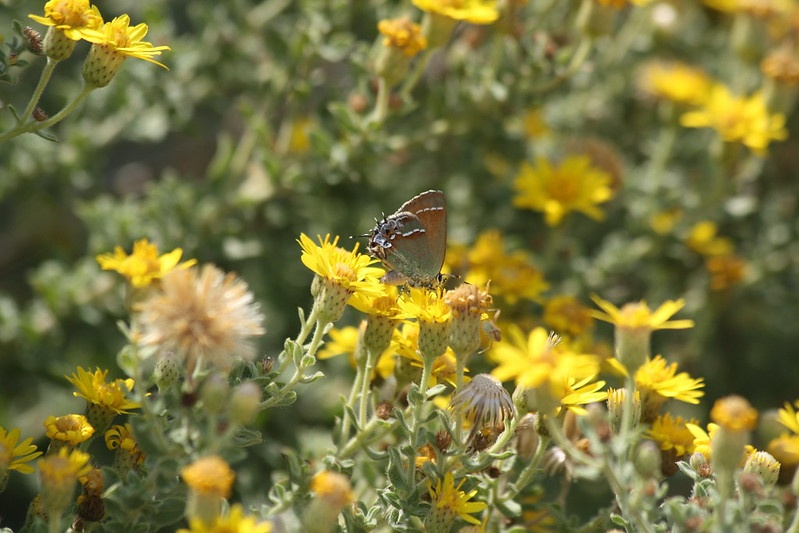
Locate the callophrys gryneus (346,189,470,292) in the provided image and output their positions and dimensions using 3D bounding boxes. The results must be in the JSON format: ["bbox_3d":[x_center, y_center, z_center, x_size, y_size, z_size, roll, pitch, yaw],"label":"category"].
[{"bbox_3d":[0.045,-0.055,4.310,0.379,0.422,0.316,7,77,-5],"label":"callophrys gryneus"}]
